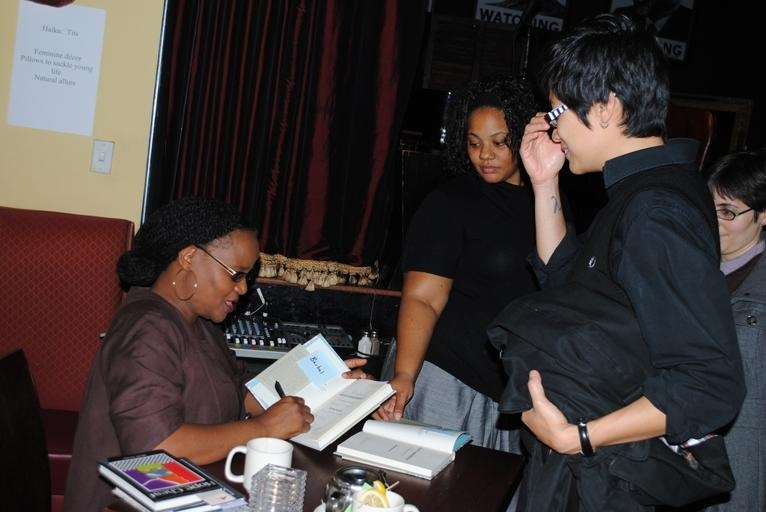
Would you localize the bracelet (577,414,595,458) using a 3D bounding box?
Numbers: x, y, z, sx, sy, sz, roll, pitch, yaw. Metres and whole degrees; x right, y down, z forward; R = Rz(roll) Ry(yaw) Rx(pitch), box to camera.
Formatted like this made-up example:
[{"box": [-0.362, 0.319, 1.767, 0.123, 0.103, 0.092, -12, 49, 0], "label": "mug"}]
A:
[{"box": [0.565, 0.515, 1.527, 0.019, 0.079, 0.074, -7, 2, 2], "label": "bracelet"}]

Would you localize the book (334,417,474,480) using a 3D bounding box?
[{"box": [0.055, 0.626, 1.793, 0.208, 0.044, 0.215, 5, 10, 28], "label": "book"}]

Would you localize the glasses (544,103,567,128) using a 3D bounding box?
[{"box": [0.523, -0.424, 1.667, 0.056, 0.018, 0.047, -40, 2, 3], "label": "glasses"}]

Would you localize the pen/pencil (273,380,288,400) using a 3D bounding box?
[{"box": [-0.368, 0.476, 1.935, 0.013, 0.064, 0.017, -22, 15, 36], "label": "pen/pencil"}]

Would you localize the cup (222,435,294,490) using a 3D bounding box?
[{"box": [-0.364, 0.610, 1.572, 0.185, 0.133, 0.119, 1, 1, -1], "label": "cup"}]

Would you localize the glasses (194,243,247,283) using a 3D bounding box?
[{"box": [-0.552, 0.022, 1.869, 0.038, 0.128, 0.123, -45, -4, -6], "label": "glasses"}]

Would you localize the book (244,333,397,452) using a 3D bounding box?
[{"box": [-0.234, 0.494, 1.961, 0.468, 0.148, 0.466, 13, 30, 14], "label": "book"}]
